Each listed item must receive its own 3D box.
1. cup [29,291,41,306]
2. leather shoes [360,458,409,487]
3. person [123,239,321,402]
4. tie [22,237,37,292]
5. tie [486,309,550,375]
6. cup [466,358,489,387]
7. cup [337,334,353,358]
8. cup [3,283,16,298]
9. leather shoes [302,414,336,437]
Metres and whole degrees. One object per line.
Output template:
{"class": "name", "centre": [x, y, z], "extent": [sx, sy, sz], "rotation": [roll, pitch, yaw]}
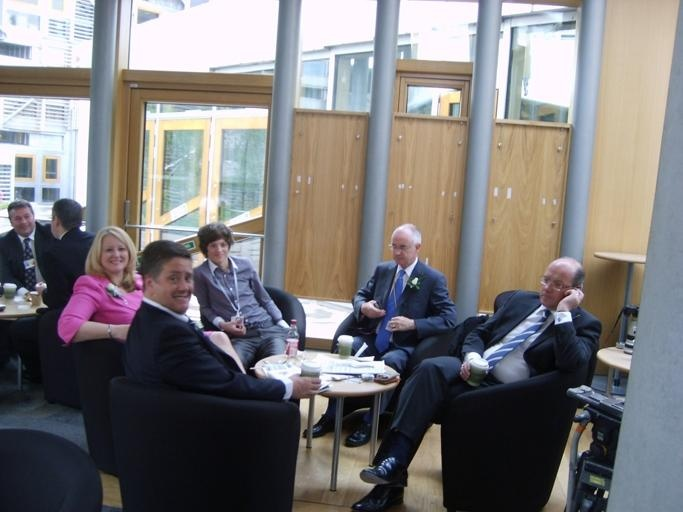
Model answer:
{"class": "cup", "centre": [-2.386, 0.334, 4.241], "extent": [0.071, 0.087, 0.113], "rotation": [0, -3, -9]}
{"class": "leather shoes", "centre": [0.235, 1.155, 2.911], "extent": [0.287, 0.132, 0.112], "rotation": [22, -18, -32]}
{"class": "person", "centre": [-0.543, 0.349, 2.532], "extent": [0.912, 0.764, 0.477], "rotation": [3, 5, -7]}
{"class": "tie", "centre": [-2.653, 0.074, 4.559], "extent": [0.071, 0.357, 0.253], "rotation": [-9, 9, -24]}
{"class": "tie", "centre": [1.046, 0.518, 3.177], "extent": [0.065, 0.472, 0.069], "rotation": [42, -10, 33]}
{"class": "cup", "centre": [0.735, 0.648, 3.046], "extent": [0.130, 0.143, 0.132], "rotation": [6, 12, -1]}
{"class": "cup", "centre": [0.022, 0.571, 3.413], "extent": [0.110, 0.135, 0.119], "rotation": [-1, 1, 0]}
{"class": "cup", "centre": [-2.654, 0.279, 4.381], "extent": [0.115, 0.112, 0.106], "rotation": [5, 5, 0]}
{"class": "leather shoes", "centre": [-0.144, 1.207, 3.833], "extent": [0.093, 0.122, 0.282], "rotation": [-5, -9, 42]}
